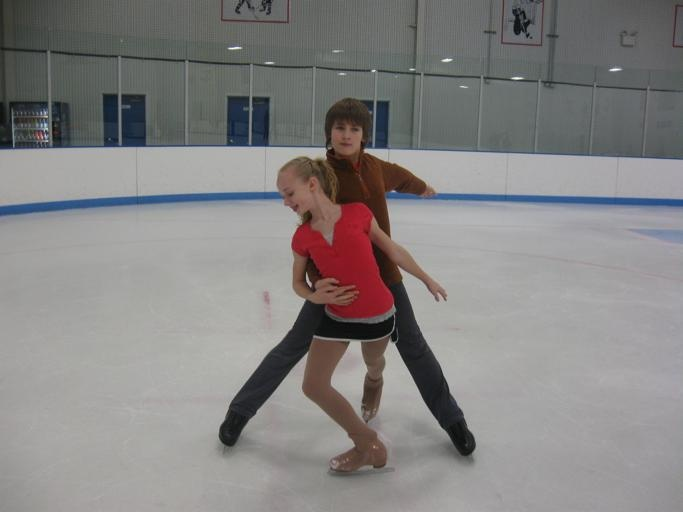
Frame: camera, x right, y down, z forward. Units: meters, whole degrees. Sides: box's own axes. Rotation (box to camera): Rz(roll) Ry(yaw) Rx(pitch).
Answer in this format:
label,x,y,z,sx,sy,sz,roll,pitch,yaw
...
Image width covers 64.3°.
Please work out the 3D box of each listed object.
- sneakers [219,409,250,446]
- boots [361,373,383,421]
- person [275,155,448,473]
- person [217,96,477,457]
label,x,y,z,sx,sy,sz,roll,pitch,yaw
sneakers,-0.493,0.787,2.473,0.110,0.050,0.204,22,18,2
boots,0.142,0.695,2.692,0.073,0.280,0.111,5,22,8
person,0.021,0.246,2.315,0.615,1.314,0.403,-6,12,-28
person,0.037,0.189,2.320,1.182,1.647,0.678,-4,23,-5
